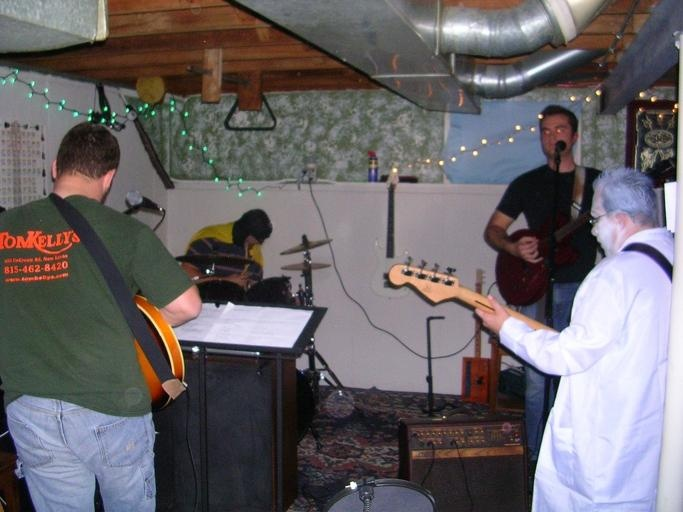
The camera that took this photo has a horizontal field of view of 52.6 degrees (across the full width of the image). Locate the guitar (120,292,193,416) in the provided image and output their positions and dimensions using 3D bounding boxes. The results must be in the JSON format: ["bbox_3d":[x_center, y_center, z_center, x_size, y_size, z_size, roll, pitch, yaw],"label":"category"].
[{"bbox_3d":[-0.831,0.480,3.394,0.102,0.464,0.449,-24,45,-34],"label":"guitar"}]

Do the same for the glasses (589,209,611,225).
[{"bbox_3d":[1.238,-0.185,3.305,0.063,0.021,0.060,21,0,-30],"label":"glasses"}]

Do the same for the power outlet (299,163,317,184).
[{"bbox_3d":[-0.300,-0.772,6.421,0.193,0.228,0.133,3,3,9],"label":"power outlet"}]

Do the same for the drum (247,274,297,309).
[{"bbox_3d":[-0.573,0.306,5.625,0.331,0.263,0.278,-7,-9,6],"label":"drum"}]

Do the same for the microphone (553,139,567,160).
[{"bbox_3d":[1.543,-0.764,4.894,0.102,0.106,0.336,-20,5,24],"label":"microphone"}]

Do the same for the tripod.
[{"bbox_3d":[-0.182,0.607,5.726,0.592,1.563,1.633,-2,3,-5],"label":"tripod"}]
